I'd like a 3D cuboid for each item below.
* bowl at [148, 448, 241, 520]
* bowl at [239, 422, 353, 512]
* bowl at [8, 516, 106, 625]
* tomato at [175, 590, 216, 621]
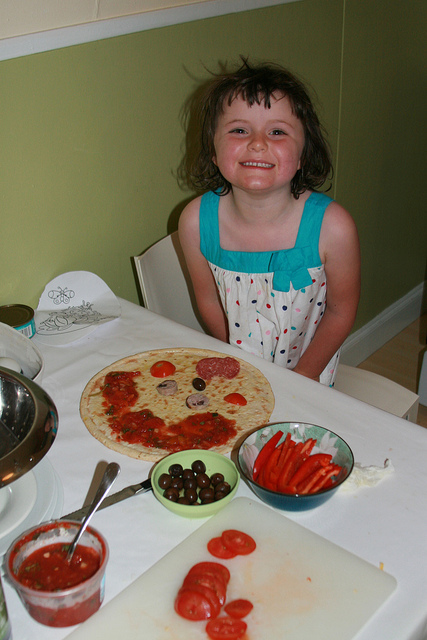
[{"bbox_3d":[-0.023,0.213,0.664,0.109,0.042,0.102,-5,22,2],"label":"bowl"},{"bbox_3d":[0.106,0.188,0.658,0.138,0.062,0.132,-5,23,2],"label":"bowl"},{"bbox_3d":[-0.157,0.239,0.535,0.098,0.070,0.098,-3,48,3],"label":"bowl"},{"bbox_3d":[-0.019,0.268,0.486,0.043,0.018,0.018,4,25,23],"label":"tomato"}]
